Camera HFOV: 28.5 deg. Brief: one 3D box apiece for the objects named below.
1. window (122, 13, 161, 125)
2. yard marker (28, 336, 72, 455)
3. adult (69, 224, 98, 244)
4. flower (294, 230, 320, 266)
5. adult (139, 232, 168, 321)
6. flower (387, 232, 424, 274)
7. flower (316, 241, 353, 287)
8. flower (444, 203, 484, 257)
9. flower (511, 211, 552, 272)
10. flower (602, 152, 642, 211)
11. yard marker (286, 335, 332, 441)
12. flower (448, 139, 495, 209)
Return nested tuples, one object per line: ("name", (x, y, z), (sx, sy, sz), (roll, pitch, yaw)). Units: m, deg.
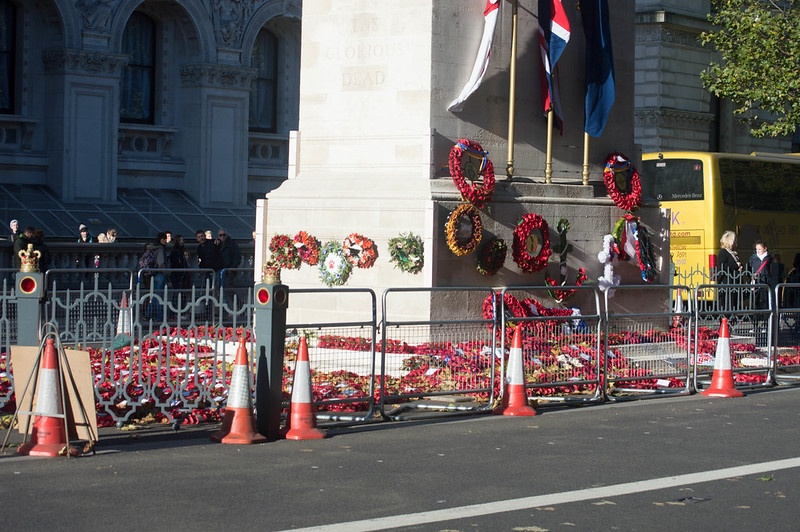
("window", (-8.148, -6.274, 49.248), (1.224, 3.485, 0.221), (10, 11, 30))
("yard marker", (-5.308, 1.958, 23.751), (0.586, 1.772, 0.262), (-2, -2, -9))
("adult", (-7.958, -0.807, 39.994), (0.635, 0.343, 0.865), (0, 2, -12))
("flower", (-1.838, -0.381, 31.457), (0.553, 0.667, 0.212), (-4, -3, 39))
("adult", (-5.038, 0.198, 32.270), (0.445, 0.601, 1.661), (8, 39, -12))
("flower", (0.170, -0.269, 30.364), (0.724, 0.732, 0.275), (11, 9, 7))
("flower", (-1.291, -0.085, 31.101), (0.719, 0.834, 0.256), (-1, -3, 37))
("flower", (1.258, -0.734, 30.478), (0.307, 0.928, 0.837), (8, 1, 33))
("flower", (2.701, -0.519, 31.424), (0.919, 0.913, 0.973), (1, -28, 45))
("flower", (4.677, -1.823, 33.131), (0.367, 1.176, 1.556), (-6, -7, 27))
("yard marker", (-1.469, 1.892, 24.780), (0.621, 1.634, 0.613), (-1, -3, -36))
("flower", (1.438, -1.883, 30.788), (0.383, 1.266, 1.041), (-20, -1, 40))
